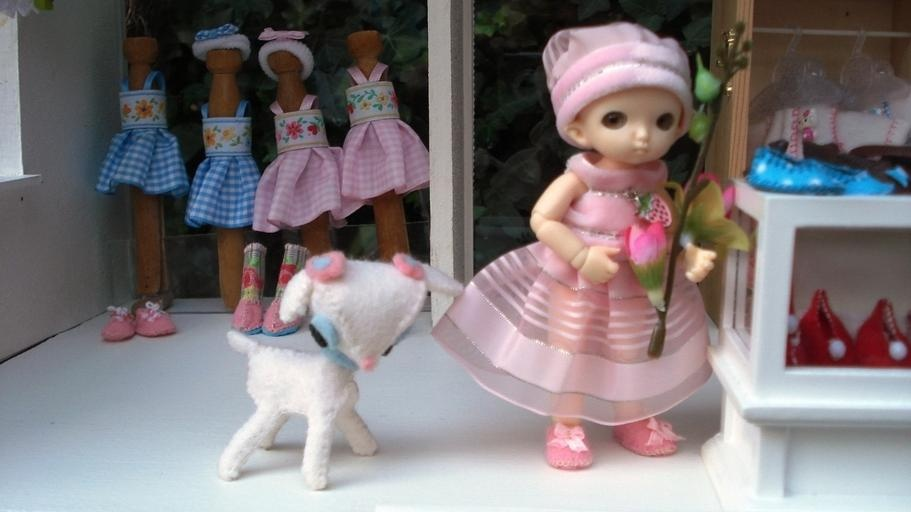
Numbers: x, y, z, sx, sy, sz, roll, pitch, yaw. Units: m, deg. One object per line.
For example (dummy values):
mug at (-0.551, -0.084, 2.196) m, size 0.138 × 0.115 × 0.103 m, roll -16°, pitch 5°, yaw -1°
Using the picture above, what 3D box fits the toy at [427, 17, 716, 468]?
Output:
toy at (0.402, -0.035, 2.495) m, size 0.861 × 1.392 × 0.403 m, roll -5°, pitch 14°, yaw -9°

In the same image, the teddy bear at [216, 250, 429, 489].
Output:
teddy bear at (-0.428, 0.349, 2.432) m, size 0.668 × 0.721 × 0.308 m, roll -1°, pitch 14°, yaw 9°
